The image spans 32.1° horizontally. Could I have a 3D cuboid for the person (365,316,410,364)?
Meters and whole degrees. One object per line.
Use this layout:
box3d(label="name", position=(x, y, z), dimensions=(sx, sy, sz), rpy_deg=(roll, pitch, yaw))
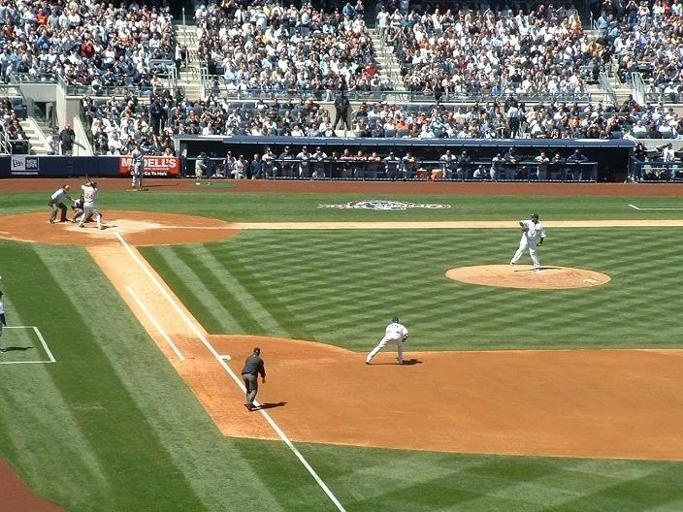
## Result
box3d(label="person", position=(1.485, 2.464, 33.902), dimensions=(0.957, 0.455, 1.756), rpy_deg=(4, 41, 24))

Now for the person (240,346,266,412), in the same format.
box3d(label="person", position=(-2.354, 3.167, 31.683), dimensions=(0.576, 1.651, 1.373), rpy_deg=(-2, 7, -4))
